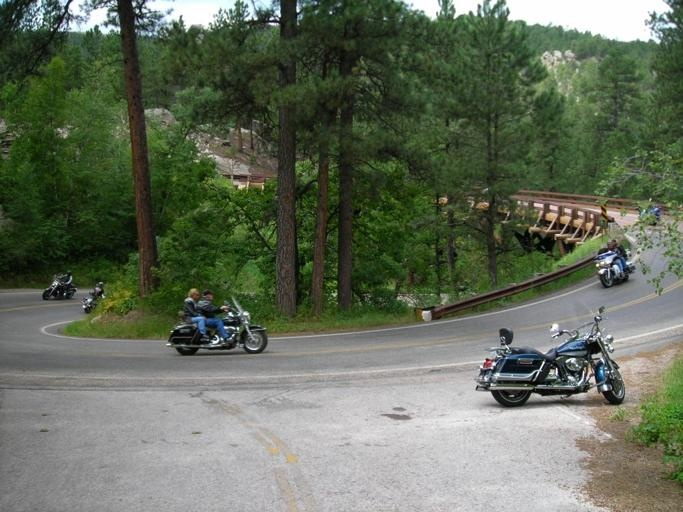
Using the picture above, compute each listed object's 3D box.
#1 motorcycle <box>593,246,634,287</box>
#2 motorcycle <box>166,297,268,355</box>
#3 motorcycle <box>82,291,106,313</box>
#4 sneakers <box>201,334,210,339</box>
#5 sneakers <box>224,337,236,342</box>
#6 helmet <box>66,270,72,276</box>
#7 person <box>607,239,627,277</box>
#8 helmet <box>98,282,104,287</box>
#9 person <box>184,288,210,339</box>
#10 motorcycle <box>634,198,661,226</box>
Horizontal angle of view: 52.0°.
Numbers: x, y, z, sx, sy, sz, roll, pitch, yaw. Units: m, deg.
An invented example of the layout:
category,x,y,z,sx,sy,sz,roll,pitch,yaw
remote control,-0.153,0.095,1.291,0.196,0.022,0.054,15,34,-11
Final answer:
category,x,y,z,sx,sy,sz,roll,pitch,yaw
motorcycle,12.002,0.503,30.786,2.720,1.617,1.100,-6,-11,-43
motorcycle,-3.661,2.141,21.177,2.861,1.776,1.378,0,-8,-3
motorcycle,-12.231,2.336,34.712,0.618,0.663,1.069,-7,14,17
sneakers,-4.029,2.398,20.833,0.234,0.095,0.040,0,0,-13
sneakers,-3.302,2.486,20.881,0.276,0.158,0.069,0,0,-11
helmet,-16.841,1.068,43.343,0.234,0.210,0.265,-1,-20,8
person,12.109,0.138,30.660,0.829,1.648,0.708,-7,-10,-22
helmet,-13.461,1.617,39.250,0.188,0.232,0.345,-17,-3,-16
person,-4.420,1.730,21.127,0.617,1.163,0.964,0,0,-24
motorcycle,7.222,-0.933,16.382,0.563,0.751,1.275,6,17,24
